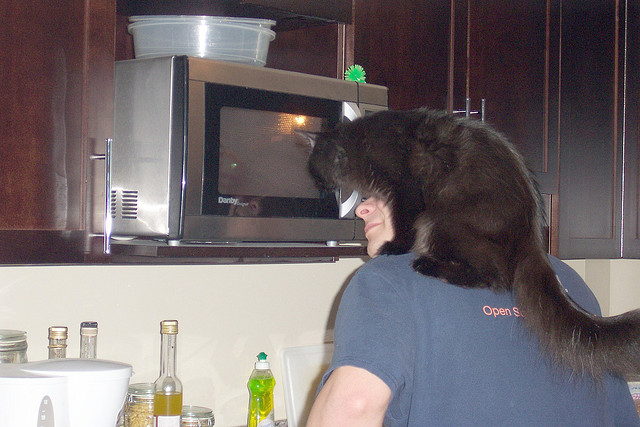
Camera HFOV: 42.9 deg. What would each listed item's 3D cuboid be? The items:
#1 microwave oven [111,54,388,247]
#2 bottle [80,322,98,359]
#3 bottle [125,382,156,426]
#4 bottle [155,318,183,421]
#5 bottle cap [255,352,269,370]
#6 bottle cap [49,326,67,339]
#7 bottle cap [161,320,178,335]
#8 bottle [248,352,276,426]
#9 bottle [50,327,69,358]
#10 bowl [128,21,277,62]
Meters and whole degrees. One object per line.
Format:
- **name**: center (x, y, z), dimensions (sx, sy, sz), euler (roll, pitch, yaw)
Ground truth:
- **microwave oven**: center (-0.165, -0.140, 2.215), dimensions (0.717, 0.433, 0.389), euler (1, 1, -42)
- **bottle**: center (-0.608, 0.334, 2.144), dimensions (0.041, 0.094, 0.081), euler (-3, 2, -17)
- **bottle**: center (-0.482, 0.522, 2.179), dimensions (0.073, 0.102, 0.074), euler (-2, 2, 0)
- **bottle**: center (-0.412, 0.422, 2.199), dimensions (0.070, 0.276, 0.201), euler (-2, 2, -11)
- **bottle cap**: center (-0.170, 0.430, 2.351), dimensions (0.038, 0.057, 0.078), euler (-2, 2, -5)
- **bottle cap**: center (-0.677, 0.310, 2.108), dimensions (0.033, 0.020, 0.034), euler (3, -1, 42)
- **bottle cap**: center (-0.398, 0.302, 2.142), dimensions (0.039, 0.035, 0.037), euler (3, -5, -31)
- **bottle**: center (-0.174, 0.507, 2.381), dimensions (0.077, 0.213, 0.158), euler (-2, 2, -5)
- **bottle**: center (-0.690, 0.343, 2.149), dimensions (0.046, 0.090, 0.103), euler (-3, 2, -20)
- **bowl**: center (-0.322, -0.437, 2.056), dimensions (0.193, 0.044, 0.196), euler (3, 2, 0)
